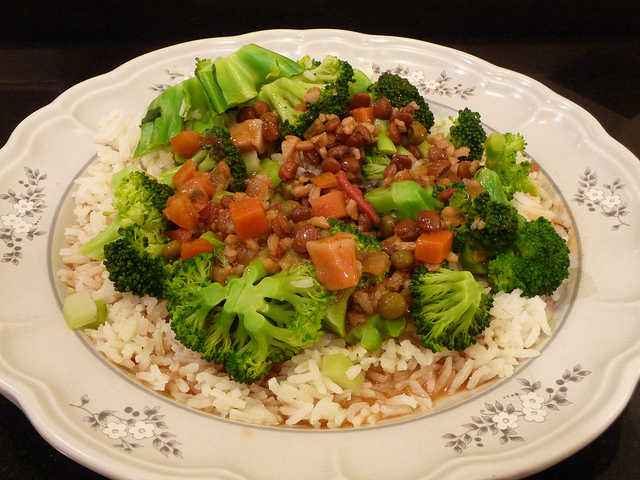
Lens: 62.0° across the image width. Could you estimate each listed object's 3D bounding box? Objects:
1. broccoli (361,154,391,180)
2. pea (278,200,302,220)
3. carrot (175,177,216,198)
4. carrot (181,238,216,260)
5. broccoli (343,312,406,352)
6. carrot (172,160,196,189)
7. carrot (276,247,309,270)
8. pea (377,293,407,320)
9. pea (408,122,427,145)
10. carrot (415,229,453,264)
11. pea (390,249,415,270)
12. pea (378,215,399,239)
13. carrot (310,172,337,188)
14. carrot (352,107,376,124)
[{"bbox_3d":[0.468,-0.622,4.492,0.218,0.060,0.224,33,76,22],"label":"broccoli"},{"bbox_3d":[-0.238,-0.249,4.148,0.151,0.109,0.156,31,85,3],"label":"pea"},{"bbox_3d":[-0.962,-0.429,4.236,0.192,0.070,0.201,-25,41,-29],"label":"carrot"},{"bbox_3d":[-0.905,0.059,4.025,0.213,0.153,0.142,-12,58,-38],"label":"carrot"},{"bbox_3d":[0.420,0.643,4.051,0.337,0.332,0.122,-16,68,-28],"label":"broccoli"},{"bbox_3d":[-1.095,-0.522,4.370,0.242,0.061,0.144,-39,59,-4],"label":"carrot"},{"bbox_3d":[-0.203,0.137,3.959,0.179,0.053,0.176,-10,58,5],"label":"carrot"},{"bbox_3d":[0.528,0.482,3.877,0.184,0.100,0.183,-4,88,9],"label":"pea"},{"bbox_3d":[0.855,-0.932,4.668,0.166,0.092,0.170,8,80,-7],"label":"pea"},{"bbox_3d":[0.871,0.077,4.067,0.232,0.170,0.154,9,103,39],"label":"carrot"},{"bbox_3d":[0.633,0.147,4.055,0.182,0.079,0.137,-23,85,-2],"label":"pea"},{"bbox_3d":[0.547,-0.097,4.209,0.125,0.130,0.167,1,21,0],"label":"pea"},{"bbox_3d":[0.045,-0.475,4.264,0.138,0.042,0.142,-11,36,-17],"label":"carrot"},{"bbox_3d":[0.394,-1.081,4.628,0.202,0.073,0.150,-1,84,0],"label":"carrot"}]
